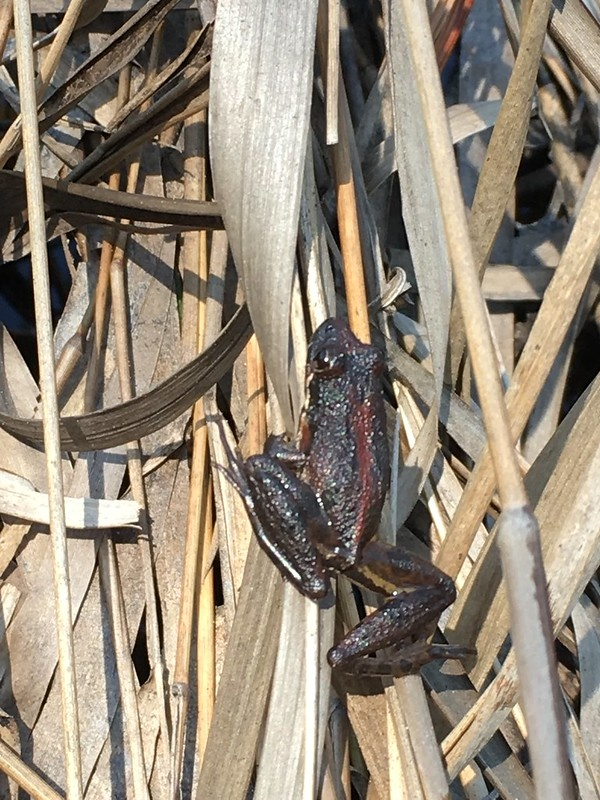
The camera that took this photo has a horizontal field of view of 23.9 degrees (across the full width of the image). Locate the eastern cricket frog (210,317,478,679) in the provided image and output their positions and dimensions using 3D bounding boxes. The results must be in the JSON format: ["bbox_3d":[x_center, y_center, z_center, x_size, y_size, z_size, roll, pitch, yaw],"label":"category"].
[{"bbox_3d":[0.082,0.158,2.175,0.283,0.231,0.649,7,40,-21],"label":"eastern cricket frog"}]
